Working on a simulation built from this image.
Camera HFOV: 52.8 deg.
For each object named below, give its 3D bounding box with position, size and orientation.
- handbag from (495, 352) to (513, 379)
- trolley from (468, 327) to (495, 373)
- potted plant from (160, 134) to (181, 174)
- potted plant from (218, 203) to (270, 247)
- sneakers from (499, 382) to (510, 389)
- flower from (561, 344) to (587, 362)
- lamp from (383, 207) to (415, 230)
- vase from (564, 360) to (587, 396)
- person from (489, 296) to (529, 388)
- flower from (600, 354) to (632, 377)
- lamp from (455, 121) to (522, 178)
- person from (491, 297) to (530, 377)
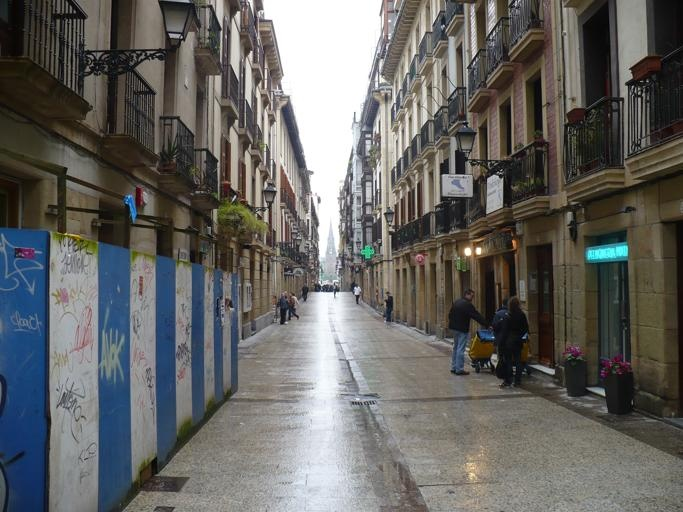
[{"bbox_3d":[3.399,2.310,14.437,0.226,0.568,0.444,-12,-1,-27],"label":"handbag"},{"bbox_3d":[3.298,2.220,16.154,0.513,1.013,0.498,0,12,-20],"label":"trolley"},{"bbox_3d":[-3.793,-2.185,15.224,0.340,0.751,0.428,1,-3,-7],"label":"potted plant"},{"bbox_3d":[-3.134,-1.152,21.137,1.073,1.239,1.554,-14,1,35],"label":"potted plant"},{"bbox_3d":[3.373,2.693,14.255,0.167,0.116,0.103,3,-2,5],"label":"sneakers"},{"bbox_3d":[4.465,1.908,13.349,0.293,0.302,0.332,2,3,-15],"label":"flower"},{"bbox_3d":[2.884,-1.859,34.084,1.186,1.324,2.587,0,-4,4],"label":"lamp"},{"bbox_3d":[4.529,2.352,13.243,0.483,0.696,0.205,-13,1,-6],"label":"vase"},{"bbox_3d":[3.618,1.740,14.611,0.622,2.106,0.532,-3,19,0],"label":"person"},{"bbox_3d":[4.721,1.934,11.899,0.335,0.480,0.431,-2,-4,17],"label":"flower"},{"bbox_3d":[3.518,-2.750,17.395,1.109,1.696,0.548,-7,-27,3],"label":"lamp"},{"bbox_3d":[3.625,1.727,14.666,0.619,2.151,0.611,-4,24,2],"label":"person"}]
